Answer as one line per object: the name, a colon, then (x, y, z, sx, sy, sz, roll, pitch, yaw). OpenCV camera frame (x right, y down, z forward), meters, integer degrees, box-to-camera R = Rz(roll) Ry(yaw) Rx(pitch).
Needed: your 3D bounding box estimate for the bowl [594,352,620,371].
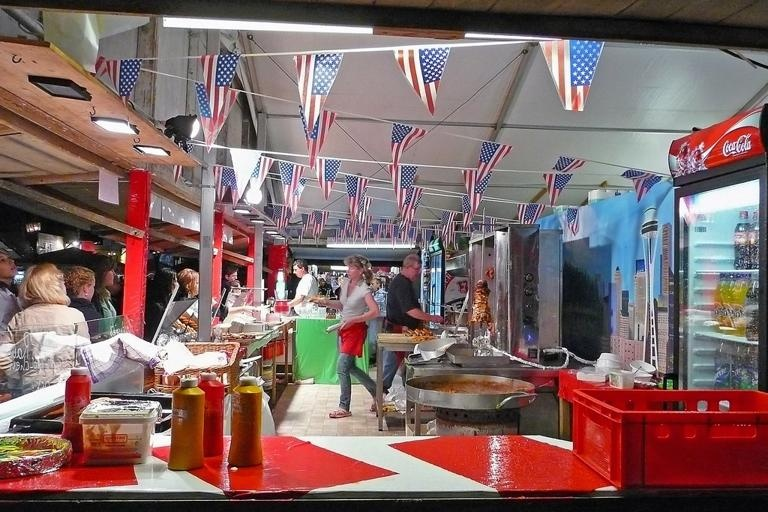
bowl: (1.673, 0.795, 4.208, 0.130, 0.077, 0.125, 2, -8, 0)

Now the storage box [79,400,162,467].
storage box: (-1.380, 0.934, 2.960, 0.387, 0.250, 0.496, 4, -10, -19)

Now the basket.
basket: (-1.309, 0.798, 4.160, 0.482, 0.200, 0.459, 1, -3, -10)

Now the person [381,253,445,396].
person: (0.341, 0.920, 7.627, 0.644, 1.958, 1.182, 3, 11, 1)

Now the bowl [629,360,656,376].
bowl: (1.958, 0.848, 4.276, 0.165, 0.041, 0.158, 0, 11, 0)

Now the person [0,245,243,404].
person: (-2.300, 0.545, 4.880, 1.392, 0.860, 0.702, 0, -7, -19)

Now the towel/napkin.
towel/napkin: (-1.631, 0.616, 3.504, 0.323, 0.111, 0.323, 9, 5, 27)

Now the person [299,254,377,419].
person: (-0.368, 1.049, 7.276, 0.588, 2.050, 0.731, 2, 11, -3)

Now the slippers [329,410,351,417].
slippers: (-0.556, 2.013, 7.210, 0.289, 0.106, 0.101, 4, -6, -15)

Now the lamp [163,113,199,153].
lamp: (-2.130, -1.303, 5.921, 0.318, 0.391, 0.747, -1, 11, -17)

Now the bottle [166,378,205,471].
bottle: (-0.971, 0.822, 2.749, 0.170, 0.434, 0.143, 0, 11, -15)
